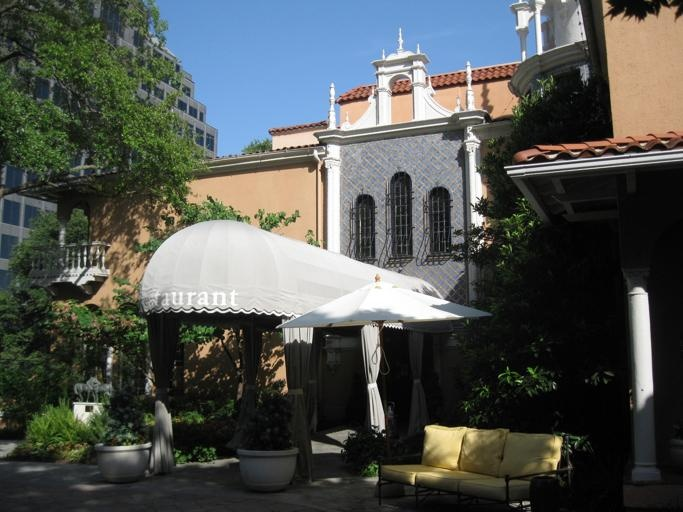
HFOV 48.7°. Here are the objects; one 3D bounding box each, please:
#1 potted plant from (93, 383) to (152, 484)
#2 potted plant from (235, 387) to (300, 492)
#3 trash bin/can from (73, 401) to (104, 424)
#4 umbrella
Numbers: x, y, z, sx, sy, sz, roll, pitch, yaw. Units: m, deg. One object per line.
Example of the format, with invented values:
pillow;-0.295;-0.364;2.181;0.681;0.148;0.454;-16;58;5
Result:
potted plant;-5.320;4.398;18.376;1.624;2.895;1.700;2;-20;-14
potted plant;-1.701;4.463;17.665;1.740;2.670;1.803;1;-15;-6
trash bin/can;-7.861;4.707;23.476;0.887;0.944;0.694;-1;-15;1
umbrella;1.169;2.995;20.504;4.425;3.666;4.213;6;-13;-42
